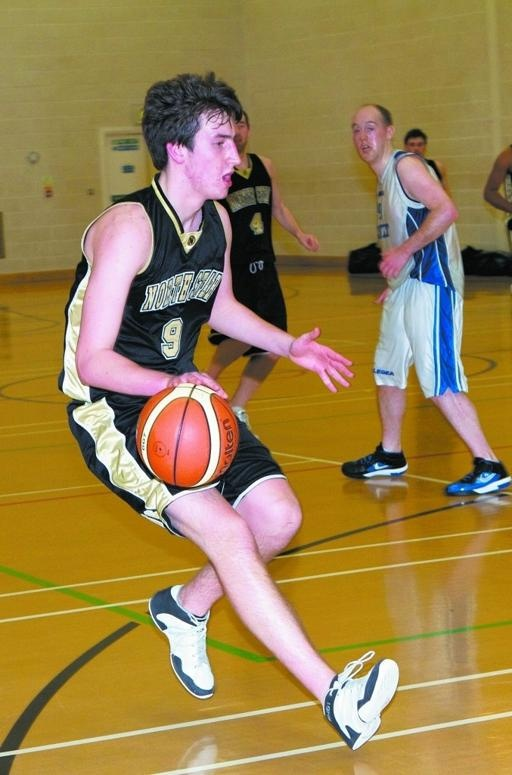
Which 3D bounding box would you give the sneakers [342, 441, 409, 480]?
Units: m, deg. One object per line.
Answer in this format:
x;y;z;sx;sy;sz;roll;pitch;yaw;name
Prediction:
0.662;0.432;3.658;0.440;0.204;0.152;0;2;-5;sneakers

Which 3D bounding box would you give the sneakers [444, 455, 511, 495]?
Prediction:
1.103;0.443;3.200;0.325;0.190;0.130;-4;0;-11;sneakers

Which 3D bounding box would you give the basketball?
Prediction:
-0.124;0.095;1.328;0.201;0.217;0.200;1;-4;-1;basketball
